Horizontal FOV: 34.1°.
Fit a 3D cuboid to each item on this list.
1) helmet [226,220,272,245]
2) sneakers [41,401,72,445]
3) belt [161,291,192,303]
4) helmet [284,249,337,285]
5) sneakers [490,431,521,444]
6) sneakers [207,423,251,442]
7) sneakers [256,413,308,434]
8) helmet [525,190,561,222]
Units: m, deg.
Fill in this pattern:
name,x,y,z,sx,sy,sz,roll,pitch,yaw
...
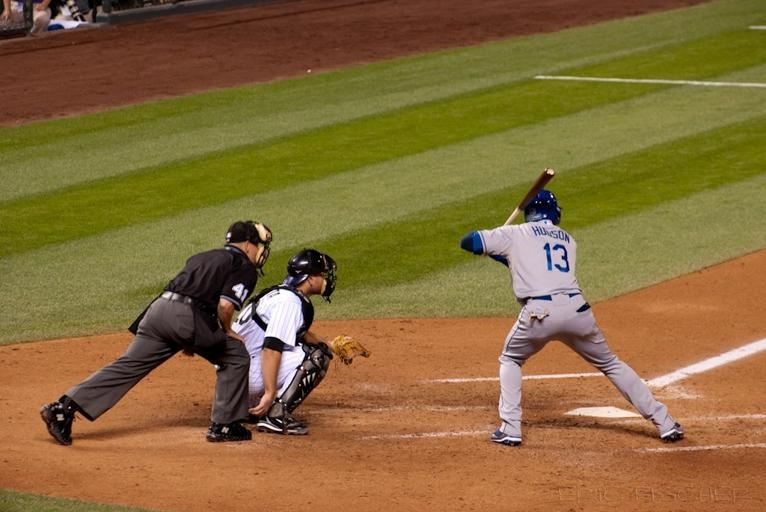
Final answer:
name,x,y,z,sx,sy,sz,roll,pitch,yaw
helmet,-1.406,-0.256,13.278,0.374,0.164,0.278,-6,8,-42
sneakers,-3.362,1.728,13.016,0.328,0.485,0.143,-9,15,-13
belt,-2.132,0.427,13.014,0.186,0.046,0.169,17,-2,-13
helmet,-0.746,0.090,13.612,0.553,0.308,0.350,-9,12,-28
sneakers,1.292,1.895,13.068,0.308,0.134,0.123,9,10,26
sneakers,-1.608,1.833,13.149,0.465,0.186,0.188,-2,8,-18
sneakers,-1.052,1.798,13.425,0.561,0.219,0.192,1,1,10
helmet,1.733,-0.544,13.440,0.349,0.300,0.394,8,12,28
